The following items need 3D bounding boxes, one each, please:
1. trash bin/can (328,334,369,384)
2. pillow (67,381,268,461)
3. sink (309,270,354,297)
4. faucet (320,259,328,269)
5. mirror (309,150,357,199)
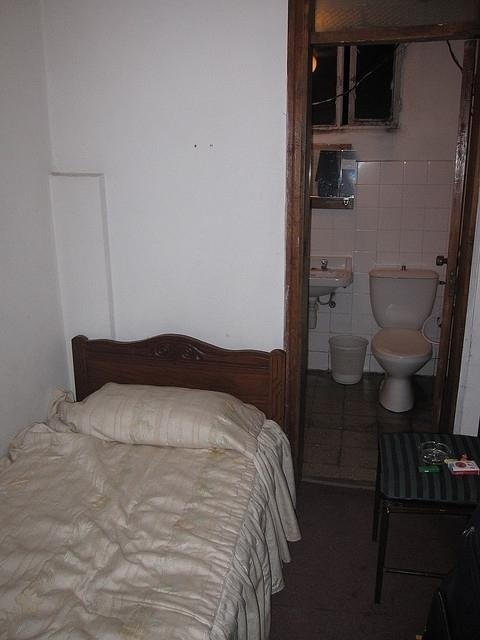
[{"bbox_3d":[0.753,0.279,3.671,0.290,0.348,0.317,3,12,7],"label":"trash bin/can"},{"bbox_3d":[-0.277,0.352,1.832,0.541,0.127,0.305,7,8,6],"label":"pillow"},{"bbox_3d":[0.614,-0.246,3.406,0.276,0.167,0.418,2,14,11],"label":"sink"},{"bbox_3d":[0.599,-0.401,3.573,0.046,0.076,0.103,1,14,8],"label":"faucet"},{"bbox_3d":[0.671,-0.984,3.382,0.333,0.383,0.040,8,48,17],"label":"mirror"}]
